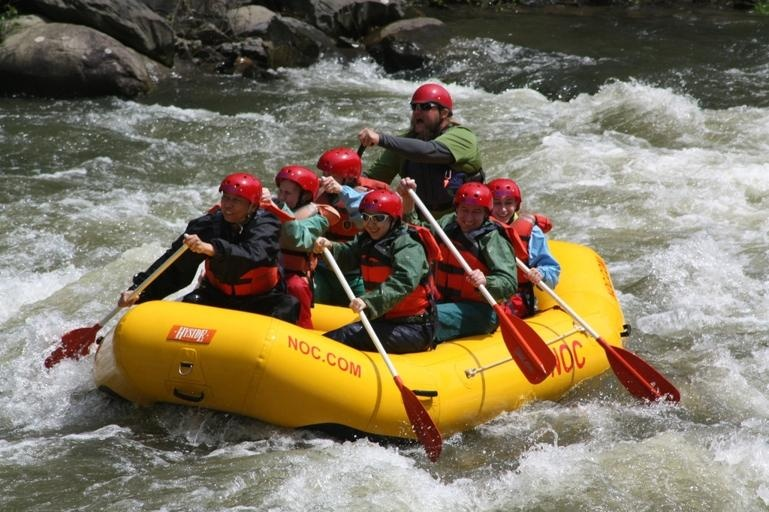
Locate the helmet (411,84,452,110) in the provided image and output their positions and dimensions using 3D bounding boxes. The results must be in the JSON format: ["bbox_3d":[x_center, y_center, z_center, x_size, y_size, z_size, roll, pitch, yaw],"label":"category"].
[{"bbox_3d":[0.475,-1.725,9.228,0.371,0.260,0.261,-18,21,-28],"label":"helmet"}]

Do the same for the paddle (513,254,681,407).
[{"bbox_3d":[2.148,0.822,8.887,1.883,0.284,0.071,43,0,18],"label":"paddle"}]

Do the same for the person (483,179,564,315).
[{"bbox_3d":[1.441,-0.161,8.942,1.013,0.503,1.279,3,53,-2],"label":"person"}]
